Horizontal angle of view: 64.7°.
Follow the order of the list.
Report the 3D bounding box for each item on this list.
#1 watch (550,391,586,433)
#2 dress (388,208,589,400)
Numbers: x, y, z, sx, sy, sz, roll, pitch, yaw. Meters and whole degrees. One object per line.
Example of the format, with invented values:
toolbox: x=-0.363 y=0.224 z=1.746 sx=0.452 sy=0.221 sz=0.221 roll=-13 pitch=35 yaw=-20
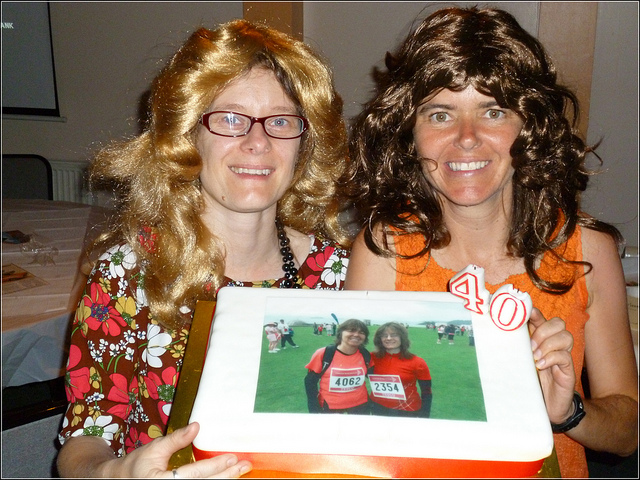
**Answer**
watch: x=0.581 y=0.409 z=1.178 sx=0.089 sy=0.095 sz=0.035 roll=-2 pitch=5 yaw=-11
dress: x=0.455 y=0.137 z=1.490 sx=0.559 sy=0.552 sz=0.161 roll=3 pitch=-29 yaw=3
